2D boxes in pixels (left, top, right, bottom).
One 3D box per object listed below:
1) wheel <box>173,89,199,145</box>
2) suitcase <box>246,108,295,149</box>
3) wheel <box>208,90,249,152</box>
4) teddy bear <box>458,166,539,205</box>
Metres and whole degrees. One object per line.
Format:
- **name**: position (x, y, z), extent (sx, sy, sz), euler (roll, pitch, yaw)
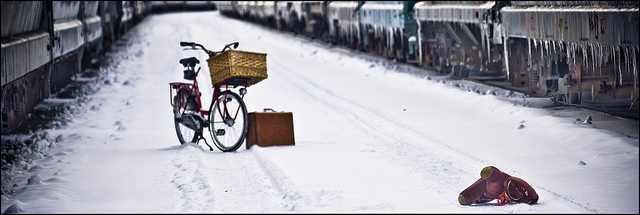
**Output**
- **wheel**: position (-5.270, 0.363, 19.179), extent (0.619, 2.101, 1.267), euler (-11, 16, -39)
- **suitcase**: position (-1.891, 0.808, 18.825), extent (1.577, 1.562, 1.422), euler (0, 0, 8)
- **wheel**: position (-3.547, 0.612, 18.858), extent (0.613, 2.241, 2.625), euler (3, -3, -42)
- **teddy bear**: position (6.162, 2.806, 16.598), extent (1.807, 1.485, 0.615), euler (6, 51, -6)
